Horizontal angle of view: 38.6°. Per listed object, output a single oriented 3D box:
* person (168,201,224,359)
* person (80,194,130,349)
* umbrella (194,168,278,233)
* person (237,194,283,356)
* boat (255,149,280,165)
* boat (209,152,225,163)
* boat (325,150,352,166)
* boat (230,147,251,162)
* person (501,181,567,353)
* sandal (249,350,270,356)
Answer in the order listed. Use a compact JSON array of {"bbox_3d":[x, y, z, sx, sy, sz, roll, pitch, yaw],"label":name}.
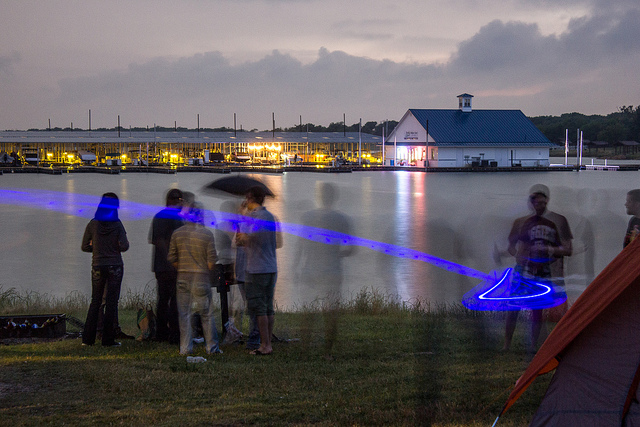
[{"bbox_3d":[-2.222,1.186,16.280,0.890,2.800,0.397,-1,4,-9],"label":"person"},{"bbox_3d":[-3.910,1.087,16.719,0.820,2.810,0.449,-1,4,-6],"label":"person"},{"bbox_3d":[-1.785,-0.291,19.369,1.583,1.002,1.581,17,15,40],"label":"umbrella"},{"bbox_3d":[-1.069,1.112,16.409,0.767,2.925,0.623,-1,4,-6],"label":"person"},{"bbox_3d":[-6.782,-7.224,116.454,2.524,1.479,17.029,-1,5,-3],"label":"boat"},{"bbox_3d":[-12.409,-6.749,111.811,1.905,1.144,1.436,-3,5,-31],"label":"boat"},{"bbox_3d":[2.503,-6.983,119.529,2.022,1.959,4.036,1,4,11],"label":"boat"},{"bbox_3d":[-9.660,-6.747,113.607,2.016,1.777,3.636,-2,14,-15],"label":"boat"},{"bbox_3d":[3.858,1.054,16.352,1.029,3.077,0.570,0,4,11],"label":"person"},{"bbox_3d":[-1.089,2.537,16.506,0.296,0.071,0.109,2,-1,0],"label":"sandal"}]
